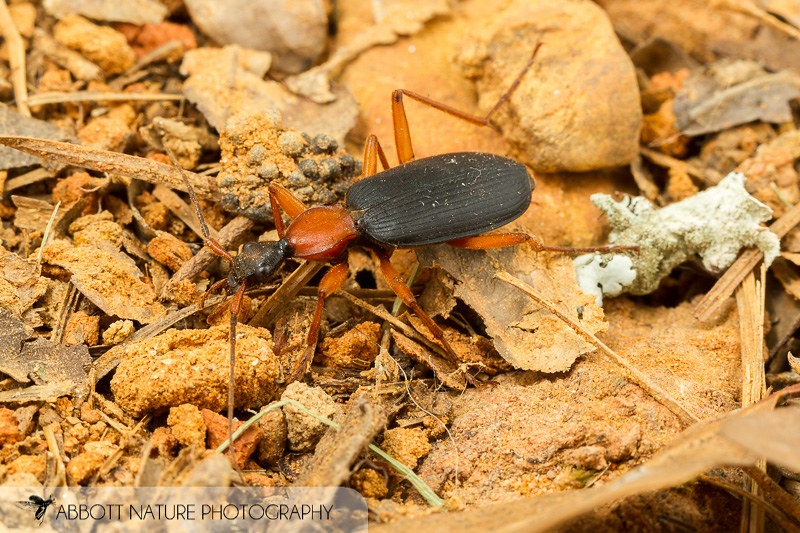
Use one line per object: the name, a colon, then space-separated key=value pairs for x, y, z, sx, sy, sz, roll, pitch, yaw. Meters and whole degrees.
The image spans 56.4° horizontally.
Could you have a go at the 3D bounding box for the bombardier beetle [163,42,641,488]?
bombardier beetle: x=-0.111 y=-0.159 z=4.912 sx=2.246 sy=0.695 sz=1.156 roll=-18 pitch=75 yaw=-12
